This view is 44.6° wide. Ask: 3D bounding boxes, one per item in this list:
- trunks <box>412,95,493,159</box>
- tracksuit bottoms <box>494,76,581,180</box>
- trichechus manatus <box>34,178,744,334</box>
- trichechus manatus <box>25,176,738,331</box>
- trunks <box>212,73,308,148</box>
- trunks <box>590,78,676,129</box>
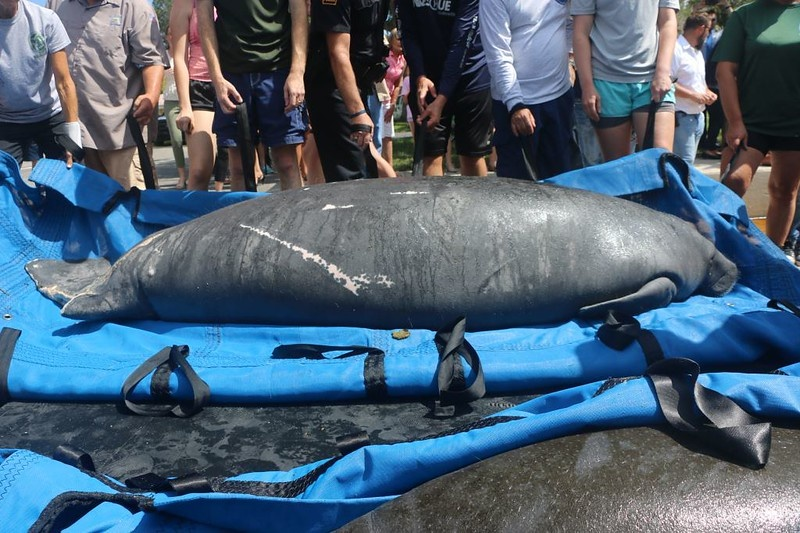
[{"bbox_3d":[0.514,-1.284,8.695,0.695,0.673,0.413,0,-5,22],"label":"trunks"},{"bbox_3d":[1.070,-1.120,7.821,0.753,1.002,0.398,-11,11,-15],"label":"tracksuit bottoms"},{"bbox_3d":[-0.129,-0.062,6.761,4.090,0.939,1.646,-1,23,1],"label":"trichechus manatus"},{"bbox_3d":[-0.189,-0.122,6.754,4.078,0.935,1.648,-1,23,1],"label":"trichechus manatus"},{"bbox_3d":[-1.151,-1.275,7.975,0.772,0.737,0.462,-2,1,4],"label":"trunks"},{"bbox_3d":[1.829,-1.338,7.853,0.573,0.436,0.348,-4,15,4],"label":"trunks"}]
